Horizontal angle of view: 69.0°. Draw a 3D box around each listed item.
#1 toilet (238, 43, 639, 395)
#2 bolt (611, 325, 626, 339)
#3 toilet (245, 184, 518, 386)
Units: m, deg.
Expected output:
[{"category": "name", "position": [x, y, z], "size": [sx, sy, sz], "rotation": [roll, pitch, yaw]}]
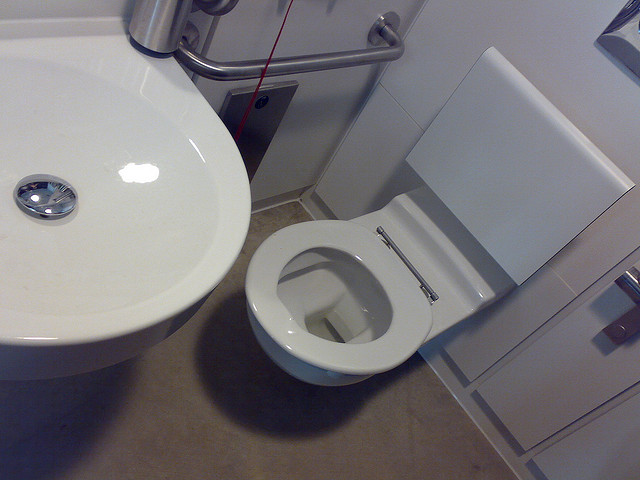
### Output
[{"category": "toilet", "position": [0.190, 0.037, 1.325], "size": [0.758, 1.005, 0.558], "rotation": [-12, 57, -35]}, {"category": "bolt", "position": [0.762, 0.236, 1.187], "size": [0.028, 0.021, 0.029], "rotation": [9, 82, 18]}, {"category": "toilet", "position": [0.129, 0.213, 1.435], "size": [0.690, 0.426, 0.498], "rotation": [-29, 67, -33]}]
